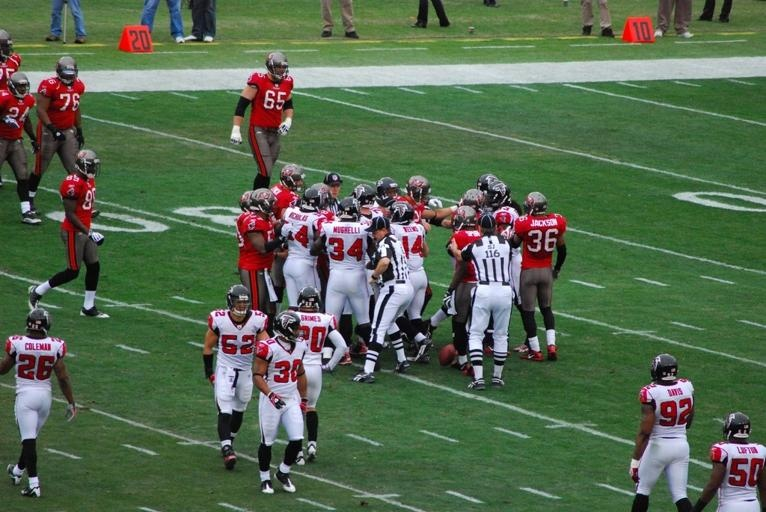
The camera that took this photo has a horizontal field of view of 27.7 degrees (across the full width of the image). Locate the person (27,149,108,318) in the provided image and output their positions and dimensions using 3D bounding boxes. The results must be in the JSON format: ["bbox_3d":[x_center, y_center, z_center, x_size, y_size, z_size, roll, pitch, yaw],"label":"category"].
[{"bbox_3d":[-4.548,-0.146,22.448,1.117,2.059,0.974,-1,12,-12],"label":"person"}]

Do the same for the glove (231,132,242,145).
[{"bbox_3d":[-2.375,-1.882,25.394,0.219,0.097,0.228,7,-25,-8],"label":"glove"}]

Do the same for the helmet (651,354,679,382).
[{"bbox_3d":[3.387,1.331,18.737,0.302,0.262,0.360,-1,11,-1],"label":"helmet"}]

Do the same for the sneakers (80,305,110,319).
[{"bbox_3d":[-4.160,0.836,22.474,0.485,0.152,0.161,1,9,-8],"label":"sneakers"}]

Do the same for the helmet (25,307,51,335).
[{"bbox_3d":[-4.137,0.807,18.887,0.326,0.282,0.340,2,15,-11],"label":"helmet"}]

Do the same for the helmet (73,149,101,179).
[{"bbox_3d":[-4.168,-1.312,22.234,0.460,0.360,0.347,8,13,-1],"label":"helmet"}]

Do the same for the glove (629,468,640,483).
[{"bbox_3d":[3.033,2.610,18.589,0.085,0.187,0.152,-2,-23,9],"label":"glove"}]

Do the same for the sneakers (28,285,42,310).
[{"bbox_3d":[-4.941,0.613,22.133,0.209,0.353,0.136,0,1,9],"label":"sneakers"}]

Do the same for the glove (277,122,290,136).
[{"bbox_3d":[-1.603,-2.071,25.430,0.175,0.172,0.249,0,10,-8],"label":"glove"}]

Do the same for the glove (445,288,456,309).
[{"bbox_3d":[0.969,0.633,21.973,0.143,0.227,0.203,4,-17,-5],"label":"glove"}]

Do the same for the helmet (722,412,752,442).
[{"bbox_3d":[4.229,2.030,18.400,0.347,0.275,0.380,1,7,-2],"label":"helmet"}]

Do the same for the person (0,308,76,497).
[{"bbox_3d":[-4.207,1.759,18.849,0.915,2.169,0.906,3,12,9],"label":"person"}]
